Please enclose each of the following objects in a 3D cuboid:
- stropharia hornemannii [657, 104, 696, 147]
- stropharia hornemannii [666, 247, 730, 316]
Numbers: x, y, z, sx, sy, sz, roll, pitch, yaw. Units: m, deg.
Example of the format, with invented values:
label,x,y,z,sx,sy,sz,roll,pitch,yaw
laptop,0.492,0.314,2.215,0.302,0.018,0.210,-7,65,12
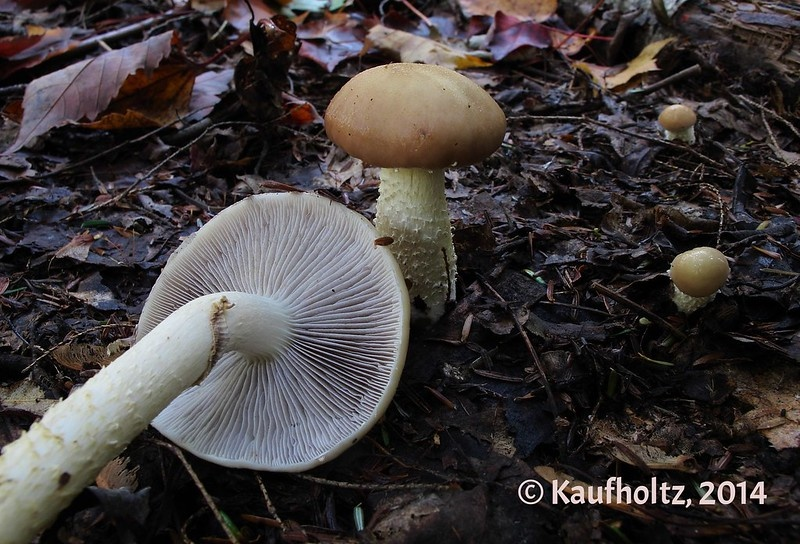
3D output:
label,x,y,z,sx,sy,sz,roll,pitch,yaw
stropharia hornemannii,2.561,-1.372,6.040,0.310,0.340,0.323,-15,36,13
stropharia hornemannii,2.195,0.032,4.878,0.386,0.412,0.399,39,68,19
